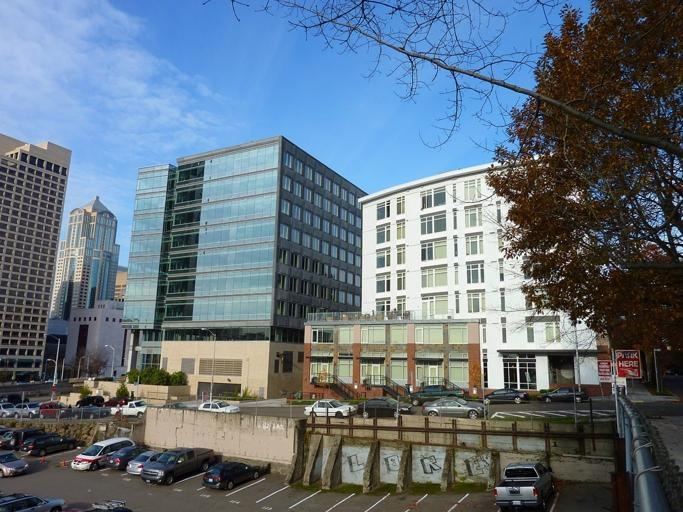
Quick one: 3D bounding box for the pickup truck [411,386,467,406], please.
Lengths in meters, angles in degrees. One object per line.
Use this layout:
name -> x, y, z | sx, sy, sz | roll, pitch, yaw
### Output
pickup truck -> 8.242, 12.404, 44.673 | 5.244, 1.540, 2.311 | 0, -7, 8

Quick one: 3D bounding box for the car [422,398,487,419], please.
car -> 8.159, 11.208, 36.259 | 4.068, 1.080, 1.746 | -5, -6, 17

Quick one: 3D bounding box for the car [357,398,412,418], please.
car -> 3.113, 11.476, 37.531 | 3.935, 0.823, 2.290 | -4, -3, -1

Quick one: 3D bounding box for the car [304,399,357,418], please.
car -> -0.863, 11.907, 38.355 | 3.044, 0.877, 1.645 | -3, -7, 8

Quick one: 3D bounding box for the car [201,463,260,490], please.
car -> -7.086, 14.035, 32.002 | 1.373, 0.890, 2.993 | -1, -3, 36

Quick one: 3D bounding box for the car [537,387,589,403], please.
car -> 19.437, 11.970, 43.067 | 2.312, 1.120, 4.088 | -3, -3, -24
